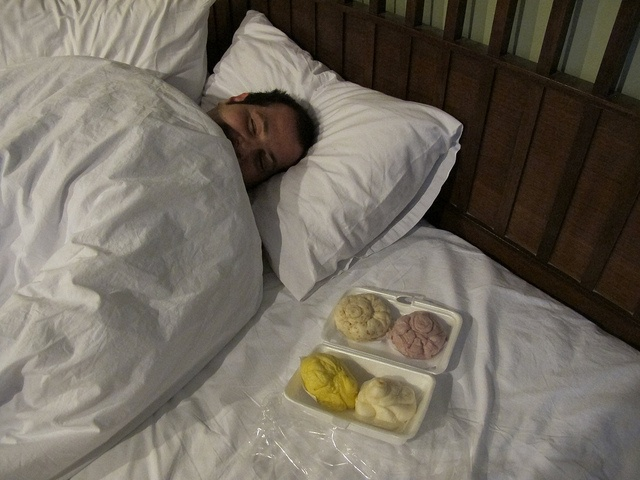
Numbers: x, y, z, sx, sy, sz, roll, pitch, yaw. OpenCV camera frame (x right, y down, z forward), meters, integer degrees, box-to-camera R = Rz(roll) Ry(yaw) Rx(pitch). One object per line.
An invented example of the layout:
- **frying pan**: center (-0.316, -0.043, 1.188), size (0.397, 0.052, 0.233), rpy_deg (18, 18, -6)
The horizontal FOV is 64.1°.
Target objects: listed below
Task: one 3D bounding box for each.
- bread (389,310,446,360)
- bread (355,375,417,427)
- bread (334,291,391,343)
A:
- **bread**: center (0.270, 0.262, 1.409), size (0.159, 0.087, 0.110), rpy_deg (15, 39, 15)
- **bread**: center (0.165, 0.394, 1.262), size (0.156, 0.065, 0.120), rpy_deg (-9, 40, -14)
- **bread**: center (0.132, 0.216, 1.466), size (0.179, 0.082, 0.131), rpy_deg (-11, 40, -17)
